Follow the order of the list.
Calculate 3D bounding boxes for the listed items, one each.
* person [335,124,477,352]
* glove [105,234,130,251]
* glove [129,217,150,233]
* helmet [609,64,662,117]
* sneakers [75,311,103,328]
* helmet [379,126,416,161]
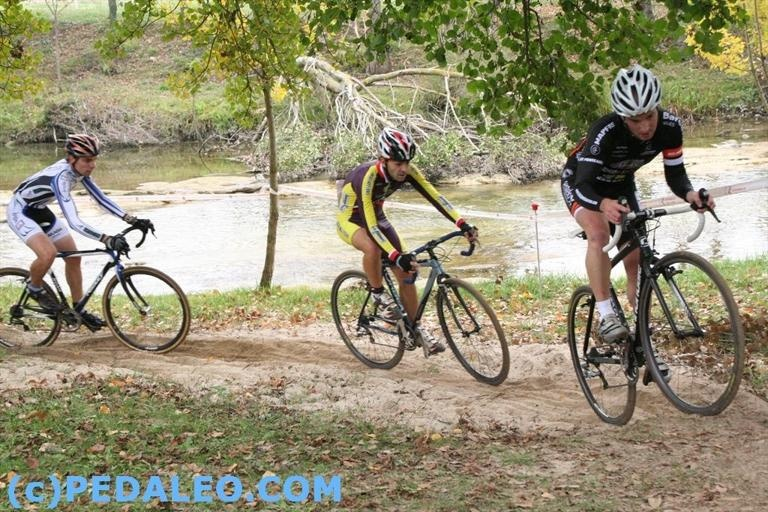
[{"bbox_3d":[0.163,-0.197,11.618,1.101,3.089,1.351,-9,10,-26],"label":"person"},{"bbox_3d":[-3.875,-0.197,12.301,0.368,0.156,0.264,0,0,38],"label":"glove"},{"bbox_3d":[-3.567,-0.455,12.411,0.284,0.230,0.423,-6,8,-16],"label":"glove"},{"bbox_3d":[2.874,-1.881,9.663,0.541,0.577,0.290,-2,9,12],"label":"helmet"},{"bbox_3d":[-4.456,0.981,12.851,0.366,0.133,0.189,21,-9,0],"label":"sneakers"},{"bbox_3d":[0.117,-1.505,11.234,0.399,0.252,0.518,-7,26,-27],"label":"helmet"}]
